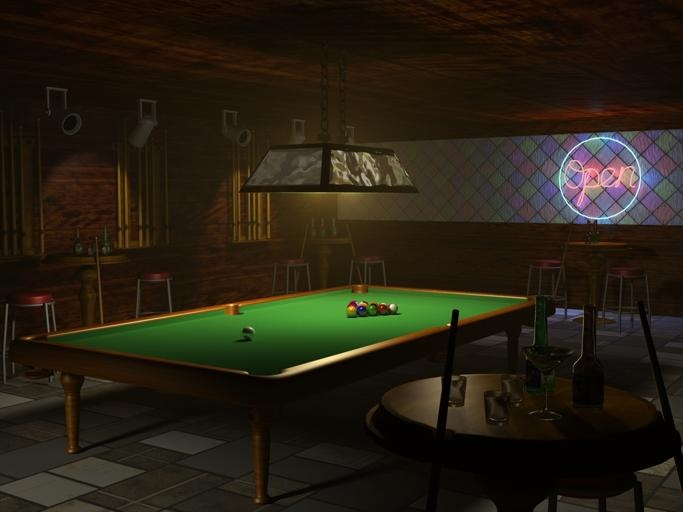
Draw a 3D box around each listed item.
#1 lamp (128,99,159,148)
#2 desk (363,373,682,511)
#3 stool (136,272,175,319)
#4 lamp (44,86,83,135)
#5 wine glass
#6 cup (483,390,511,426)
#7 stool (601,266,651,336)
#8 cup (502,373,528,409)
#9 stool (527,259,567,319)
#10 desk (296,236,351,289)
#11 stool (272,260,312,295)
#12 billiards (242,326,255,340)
[{"bbox_3d":[-2.302,-1.528,6.554,0.308,0.521,0.728,-2,5,-19],"label":"lamp"},{"bbox_3d":[0.551,0.608,1.823,0.949,0.385,0.601,0,5,3],"label":"desk"},{"bbox_3d":[-2.233,0.458,6.751,0.445,0.594,1.267,-2,5,-17],"label":"stool"},{"bbox_3d":[-2.903,-1.492,5.946,0.355,0.440,0.933,-2,5,-24],"label":"lamp"},{"bbox_3d":[0.684,0.424,1.886,0.215,0.209,0.205,13,-13,-5],"label":"wine glass"},{"bbox_3d":[0.475,0.463,1.725,0.092,0.075,0.074,-7,1,-28],"label":"cup"},{"bbox_3d":[3.891,0.559,7.672,0.679,0.711,0.619,-1,-2,-22],"label":"stool"},{"bbox_3d":[0.555,0.458,1.914,0.114,0.108,0.122,4,-10,1],"label":"cup"},{"bbox_3d":[2.923,0.499,8.224,0.659,0.720,0.590,-8,-3,-1],"label":"stool"},{"bbox_3d":[-0.241,0.088,8.989,0.970,0.892,0.918,5,9,37],"label":"desk"},{"bbox_3d":[-0.771,0.353,8.945,0.352,0.514,0.837,2,5,24],"label":"stool"},{"bbox_3d":[-0.554,0.447,3.307,0.073,0.068,0.072,19,5,16],"label":"billiards"}]
